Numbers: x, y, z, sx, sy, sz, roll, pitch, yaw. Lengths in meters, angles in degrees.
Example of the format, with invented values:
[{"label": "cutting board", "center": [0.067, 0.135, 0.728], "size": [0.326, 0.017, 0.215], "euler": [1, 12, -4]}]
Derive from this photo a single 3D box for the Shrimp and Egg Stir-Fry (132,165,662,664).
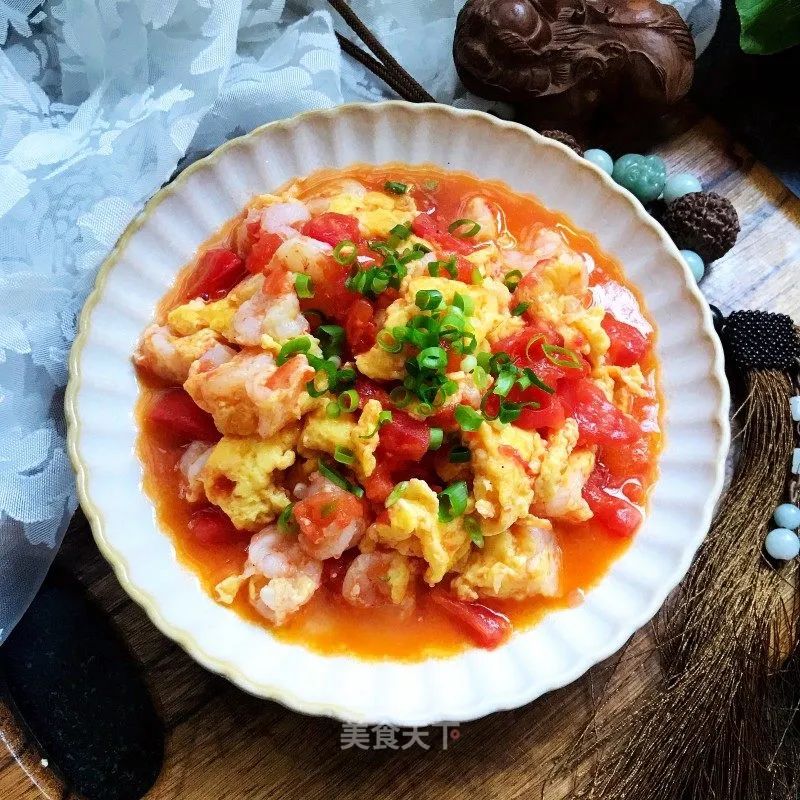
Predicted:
[{"label": "Shrimp and Egg Stir-Fry", "center": [0.009, 0.041, 3.884], "size": [2.407, 0.582, 2.223], "euler": [1, 80, 1]}]
